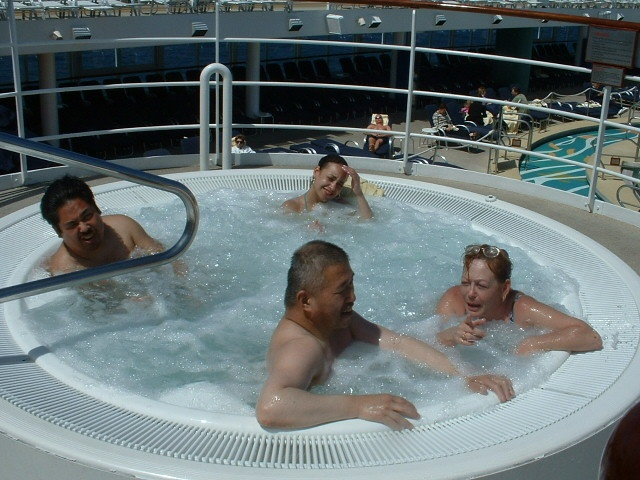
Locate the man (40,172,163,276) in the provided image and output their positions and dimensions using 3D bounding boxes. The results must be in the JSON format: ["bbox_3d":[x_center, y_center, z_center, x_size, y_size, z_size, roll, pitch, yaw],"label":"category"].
[{"bbox_3d":[-1.402,-0.084,3.131,0.696,0.502,0.681,22,-21,6],"label":"man"}]

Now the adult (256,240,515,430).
[{"bbox_3d":[0.112,0.438,2.045,1.153,0.481,0.864,2,21,8],"label":"adult"}]

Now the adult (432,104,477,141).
[{"bbox_3d":[3.282,-2.950,12.210,0.857,0.851,1.226,-3,13,-16],"label":"adult"}]

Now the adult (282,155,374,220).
[{"bbox_3d":[0.078,-0.443,4.338,0.910,0.473,0.430,-3,29,-21],"label":"adult"}]

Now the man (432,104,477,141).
[{"bbox_3d":[3.280,-2.950,12.207,0.863,0.851,1.230,-3,13,-16],"label":"man"}]

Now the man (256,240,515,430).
[{"bbox_3d":[0.114,0.438,2.050,1.153,0.481,0.864,2,21,8],"label":"man"}]

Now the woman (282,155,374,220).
[{"bbox_3d":[0.078,-0.443,4.338,0.910,0.473,0.430,-3,29,-21],"label":"woman"}]

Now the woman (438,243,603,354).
[{"bbox_3d":[1.051,0.351,2.557,0.861,0.343,0.678,-6,2,21],"label":"woman"}]
